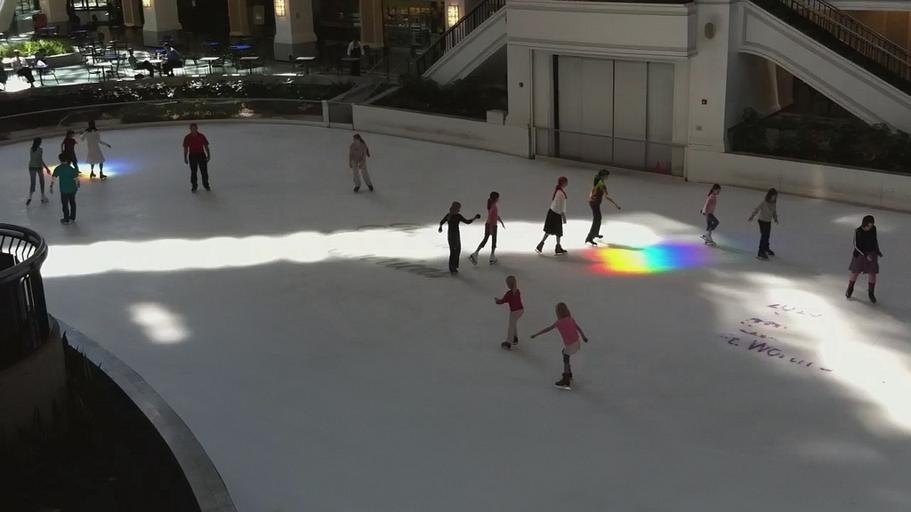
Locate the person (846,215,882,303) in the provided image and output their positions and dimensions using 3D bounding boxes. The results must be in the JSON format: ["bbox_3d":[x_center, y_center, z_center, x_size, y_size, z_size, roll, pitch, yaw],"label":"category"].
[{"bbox_3d":[10.004,-0.001,15.553,0.664,2.108,1.216,9,18,32],"label":"person"}]

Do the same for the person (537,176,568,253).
[{"bbox_3d":[2.784,-1.157,18.068,0.773,2.155,1.244,2,16,10],"label":"person"}]

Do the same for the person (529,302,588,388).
[{"bbox_3d":[2.221,1.997,13.834,1.286,1.682,0.699,-11,30,-9],"label":"person"}]

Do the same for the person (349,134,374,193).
[{"bbox_3d":[-3.286,-3.260,22.438,0.752,1.957,1.179,-3,16,-8],"label":"person"}]

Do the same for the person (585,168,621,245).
[{"bbox_3d":[4.558,-1.426,19.780,1.077,2.595,1.251,-5,45,-2],"label":"person"}]

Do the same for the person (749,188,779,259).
[{"bbox_3d":[8.395,-0.911,17.344,0.664,1.903,1.269,7,17,25],"label":"person"}]
